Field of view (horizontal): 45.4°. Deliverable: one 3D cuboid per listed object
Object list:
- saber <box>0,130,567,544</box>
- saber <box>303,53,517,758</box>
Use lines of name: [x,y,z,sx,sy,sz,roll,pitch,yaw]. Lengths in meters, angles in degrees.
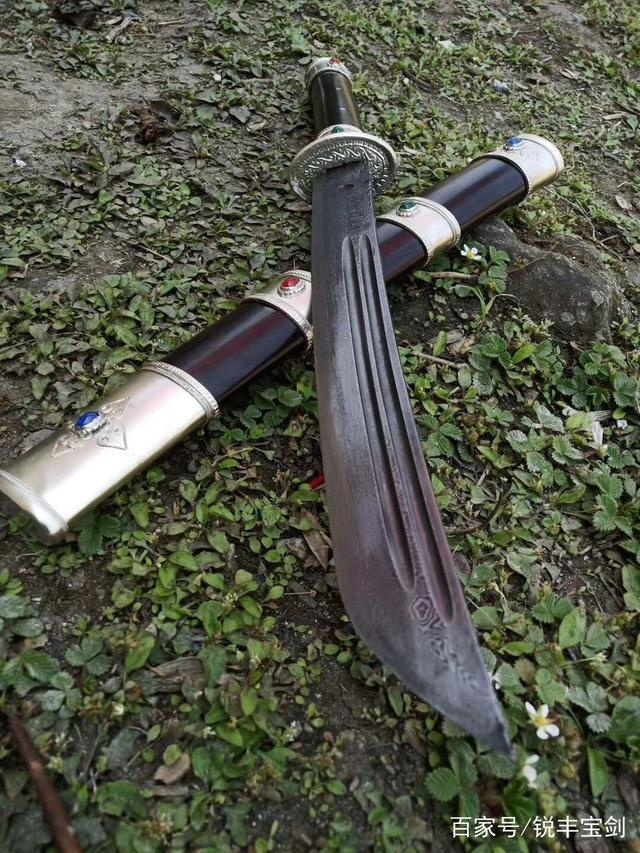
saber: [-0.110,-0.231,2.167,2.030,0.294,0.329,-32,80,-15]
saber: [0.072,-0.201,1.945,0.306,0.199,1.943,2,42,-14]
